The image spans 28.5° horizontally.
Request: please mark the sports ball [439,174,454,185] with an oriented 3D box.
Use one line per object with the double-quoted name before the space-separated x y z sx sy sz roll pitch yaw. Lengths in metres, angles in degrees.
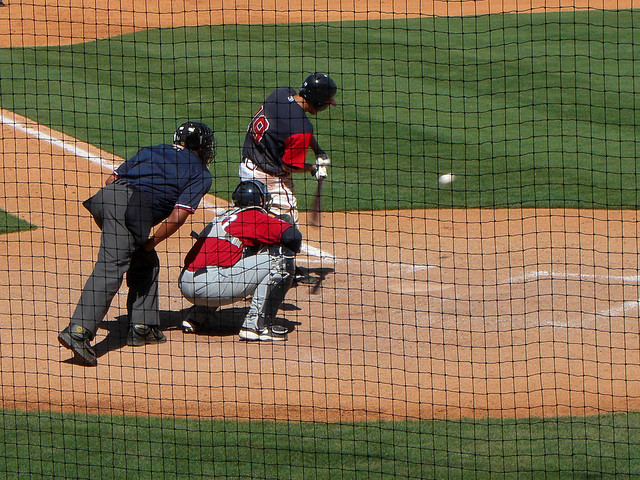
"sports ball" 1.941 -0.906 19.142 0.186 0.132 0.173 14 7 -2
